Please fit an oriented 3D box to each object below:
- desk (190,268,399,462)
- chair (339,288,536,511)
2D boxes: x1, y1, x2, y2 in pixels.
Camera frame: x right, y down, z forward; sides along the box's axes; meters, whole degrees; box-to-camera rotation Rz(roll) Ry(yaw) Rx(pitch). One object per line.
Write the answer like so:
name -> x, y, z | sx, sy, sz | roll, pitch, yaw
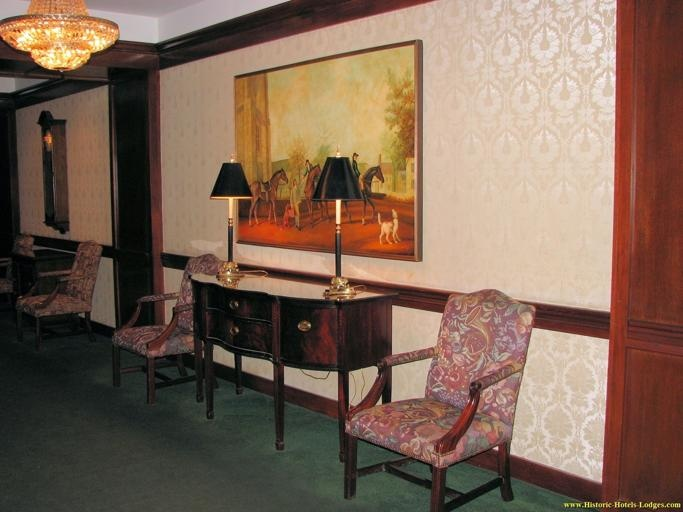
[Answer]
desk -> -0.324, 0.790, 4.194 | 1.223, 0.787, 0.477 | 5, 6, 44
chair -> 0.577, 0.865, 3.414 | 0.861, 1.259, 0.785 | -7, 10, -41
